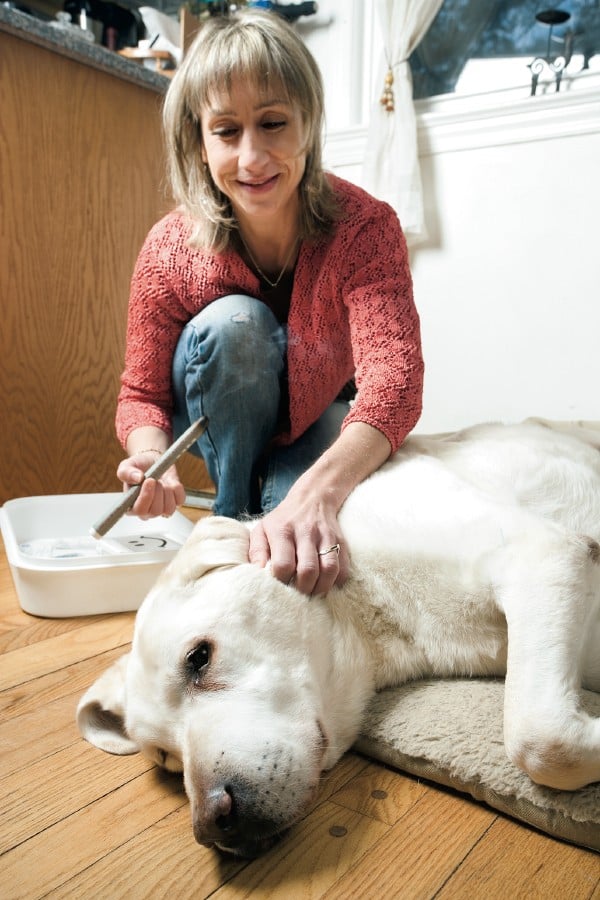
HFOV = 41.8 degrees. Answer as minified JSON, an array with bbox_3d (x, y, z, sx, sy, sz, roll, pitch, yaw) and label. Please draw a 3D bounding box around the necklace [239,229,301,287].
[{"bbox_3d":[-0.082,-0.417,1.742,0.101,0.131,0.032,-16,23,11],"label":"necklace"}]
